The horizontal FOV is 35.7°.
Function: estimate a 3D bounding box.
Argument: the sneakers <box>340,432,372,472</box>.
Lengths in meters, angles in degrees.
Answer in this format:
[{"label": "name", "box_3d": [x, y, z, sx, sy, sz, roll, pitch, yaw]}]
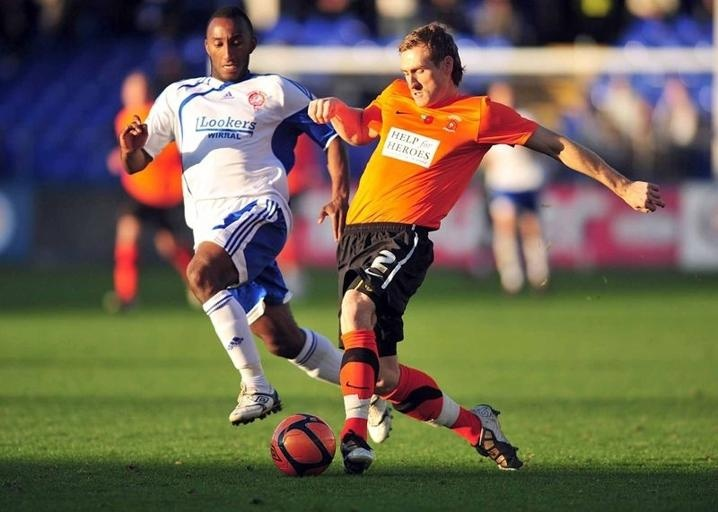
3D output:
[{"label": "sneakers", "box_3d": [-0.010, 1.414, 8.058, 0.234, 0.305, 0.169, -1, 9, -4]}]

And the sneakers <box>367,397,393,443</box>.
[{"label": "sneakers", "box_3d": [0.174, 1.239, 8.622, 0.134, 0.405, 0.181, -2, -1, 23]}]

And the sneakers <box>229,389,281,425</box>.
[{"label": "sneakers", "box_3d": [-0.794, 1.163, 8.591, 0.426, 0.240, 0.162, -24, -14, -40]}]

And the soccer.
[{"label": "soccer", "box_3d": [-0.423, 1.376, 8.160, 0.406, 0.411, 0.419, -40, 33, 23]}]
